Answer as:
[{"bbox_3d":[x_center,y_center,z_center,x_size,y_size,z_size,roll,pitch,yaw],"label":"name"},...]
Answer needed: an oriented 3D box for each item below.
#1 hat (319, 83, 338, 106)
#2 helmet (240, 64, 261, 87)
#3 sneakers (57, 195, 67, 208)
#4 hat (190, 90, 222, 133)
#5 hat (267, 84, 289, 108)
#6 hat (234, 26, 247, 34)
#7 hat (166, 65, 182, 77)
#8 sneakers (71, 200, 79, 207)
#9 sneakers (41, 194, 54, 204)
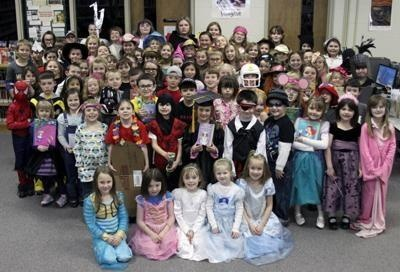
[{"bbox_3d":[1.598,-0.527,4.718,0.201,0.282,0.135,1,6,9],"label":"hat"},{"bbox_3d":[0.620,-0.767,4.703,0.222,0.251,0.306,0,8,2],"label":"helmet"},{"bbox_3d":[-1.816,0.845,4.921,0.073,0.092,0.220,0,3,-5],"label":"sneakers"},{"bbox_3d":[0.039,-0.325,4.519,0.447,0.560,0.378,5,19,22],"label":"hat"},{"bbox_3d":[0.895,-0.483,4.354,0.172,0.183,0.228,-1,-3,29],"label":"hat"},{"bbox_3d":[0.698,-1.879,6.665,0.223,0.112,0.268,2,5,2],"label":"hat"},{"bbox_3d":[-0.341,-0.844,4.915,0.147,0.117,0.147,6,3,-6],"label":"hat"},{"bbox_3d":[-1.636,0.878,4.876,0.064,0.077,0.175,1,-10,-10],"label":"sneakers"},{"bbox_3d":[-2.018,0.838,4.948,0.072,0.139,0.202,-5,-8,4],"label":"sneakers"}]
